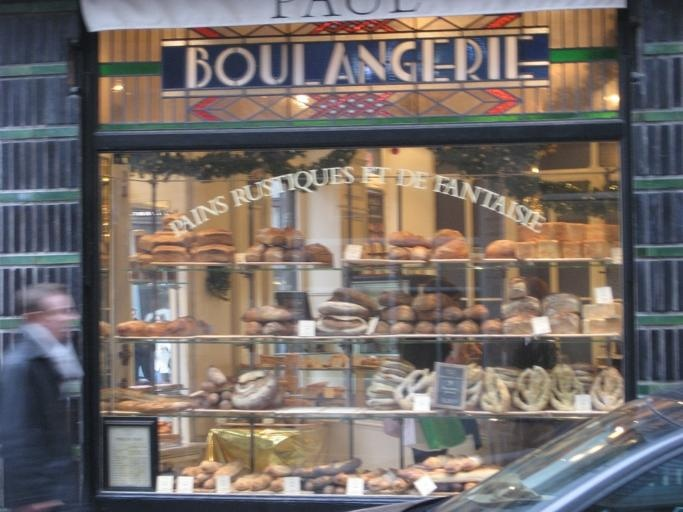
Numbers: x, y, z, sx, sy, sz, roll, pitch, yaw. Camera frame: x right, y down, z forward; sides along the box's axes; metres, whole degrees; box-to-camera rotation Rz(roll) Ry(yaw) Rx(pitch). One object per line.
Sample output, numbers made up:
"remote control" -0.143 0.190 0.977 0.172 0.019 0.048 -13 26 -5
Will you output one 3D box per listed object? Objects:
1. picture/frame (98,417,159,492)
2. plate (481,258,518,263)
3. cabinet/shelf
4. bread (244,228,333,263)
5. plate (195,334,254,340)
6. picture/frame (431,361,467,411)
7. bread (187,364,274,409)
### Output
"picture/frame" -1.774 1.650 15.685 0.460 0.619 0.072 -3 -3 -4
"plate" 1.343 0.039 15.696 0.297 0.056 0.050 -1 -2 2
"cabinet/shelf" 0.312 0.645 15.901 5.845 1.309 0.840 -3 -4 41
"bread" -0.438 -0.096 15.944 0.691 0.174 0.344 2 -3 -1
"plate" -1.009 0.688 15.904 0.311 0.062 0.009 1 7 2
"picture/frame" 0.917 1.095 15.656 0.399 0.330 0.112 4 -5 6
"bread" -0.921 1.121 15.721 0.648 0.144 0.375 1 5 3
